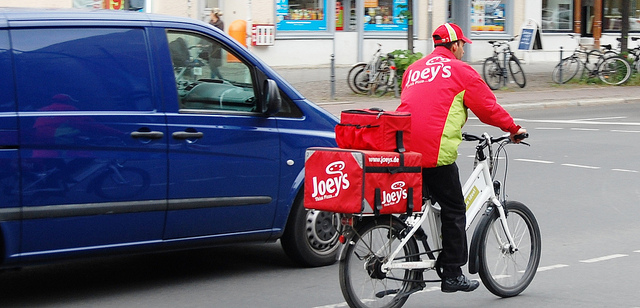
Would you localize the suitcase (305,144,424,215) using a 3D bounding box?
[{"bbox_3d":[0.542,0.339,6.355,1.203,0.611,1.254,2,-1,33],"label":"suitcase"}]

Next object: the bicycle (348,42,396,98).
[{"bbox_3d":[1.956,-2.936,19.664,1.732,1.551,0.648,1,12,10],"label":"bicycle"}]
